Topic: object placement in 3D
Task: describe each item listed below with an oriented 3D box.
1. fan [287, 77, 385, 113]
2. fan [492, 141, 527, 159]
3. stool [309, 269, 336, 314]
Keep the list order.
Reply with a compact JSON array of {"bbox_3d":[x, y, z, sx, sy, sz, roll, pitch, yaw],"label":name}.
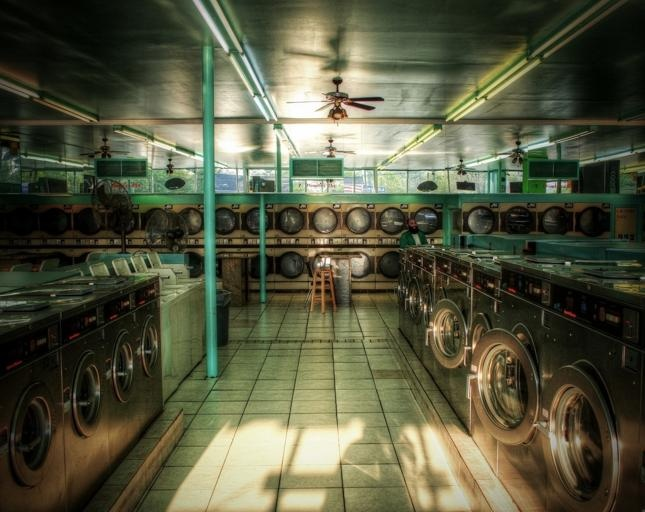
[{"bbox_3d":[0.237,-2.336,7.383,1.218,0.477,1.259,2,9,5],"label":"fan"},{"bbox_3d":[5.127,-2.812,13.286,0.634,0.550,1.014,5,13,-6],"label":"fan"},{"bbox_3d":[-0.092,0.748,10.908,0.748,0.886,0.710,3,-1,-5],"label":"stool"}]
